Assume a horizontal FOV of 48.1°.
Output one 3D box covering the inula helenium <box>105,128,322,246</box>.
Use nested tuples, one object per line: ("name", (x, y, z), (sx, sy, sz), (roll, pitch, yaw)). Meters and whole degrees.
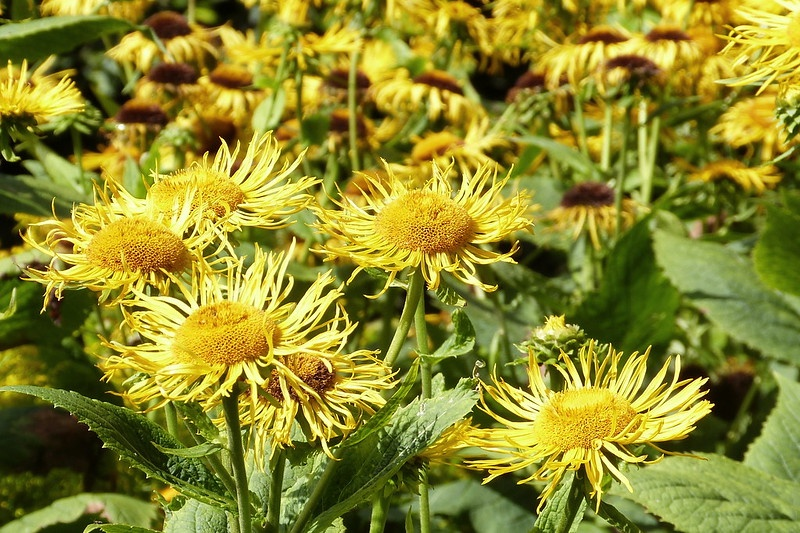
("inula helenium", (-0.347, -0.140, 1.694), (0.287, 0.278, 0.057), (15, 52, -43))

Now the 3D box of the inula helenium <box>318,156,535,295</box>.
("inula helenium", (0.031, -0.070, 1.679), (0.322, 0.099, 0.317), (-34, 63, -24))

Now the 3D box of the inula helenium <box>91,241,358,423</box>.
("inula helenium", (-0.304, 0.101, 1.530), (0.388, 0.254, 0.339), (-14, 38, -29))
